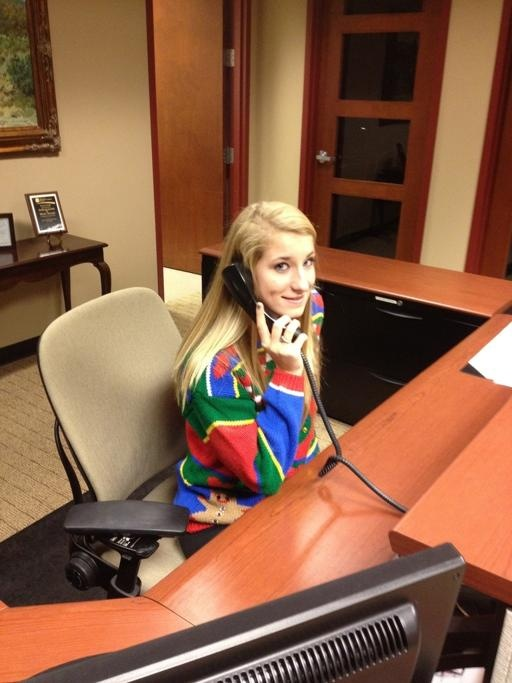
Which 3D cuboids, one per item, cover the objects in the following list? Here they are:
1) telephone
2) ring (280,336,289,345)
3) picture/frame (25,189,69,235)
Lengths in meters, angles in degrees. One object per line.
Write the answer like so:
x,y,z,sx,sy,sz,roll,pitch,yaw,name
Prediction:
-0.007,-0.083,1.088,0.034,0.151,0.086,-2,23,45,telephone
0.056,-0.003,1.063,0.005,0.018,0.013,9,1,-31,ring
-1.247,-0.762,3.045,0.030,0.302,0.265,-10,11,41,picture/frame
